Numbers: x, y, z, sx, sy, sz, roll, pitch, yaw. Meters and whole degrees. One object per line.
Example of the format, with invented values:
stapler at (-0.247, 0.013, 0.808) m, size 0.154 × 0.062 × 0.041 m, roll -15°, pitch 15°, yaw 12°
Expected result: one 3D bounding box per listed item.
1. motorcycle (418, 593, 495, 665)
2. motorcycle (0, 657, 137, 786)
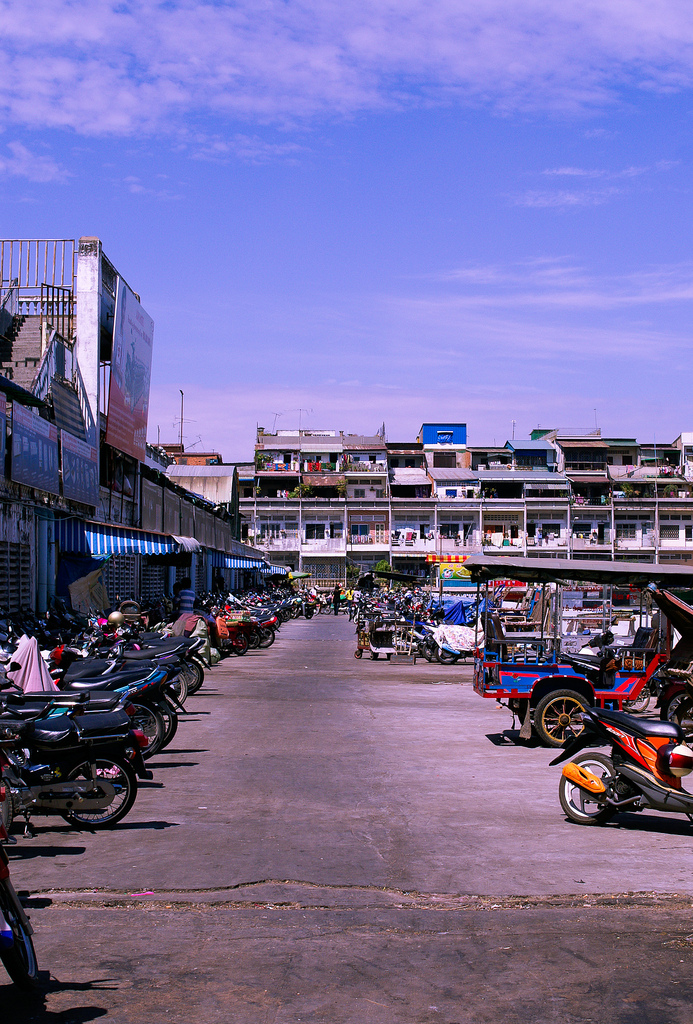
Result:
motorcycle at (2.825, 2.656, 28.090) m, size 2.397 × 1.329 × 0.992 m, roll 2°, pitch -6°, yaw -9°
motorcycle at (-1.741, 1.460, 8.739) m, size 0.906 × 0.557 × 0.559 m, roll 5°, pitch -7°, yaw -6°
